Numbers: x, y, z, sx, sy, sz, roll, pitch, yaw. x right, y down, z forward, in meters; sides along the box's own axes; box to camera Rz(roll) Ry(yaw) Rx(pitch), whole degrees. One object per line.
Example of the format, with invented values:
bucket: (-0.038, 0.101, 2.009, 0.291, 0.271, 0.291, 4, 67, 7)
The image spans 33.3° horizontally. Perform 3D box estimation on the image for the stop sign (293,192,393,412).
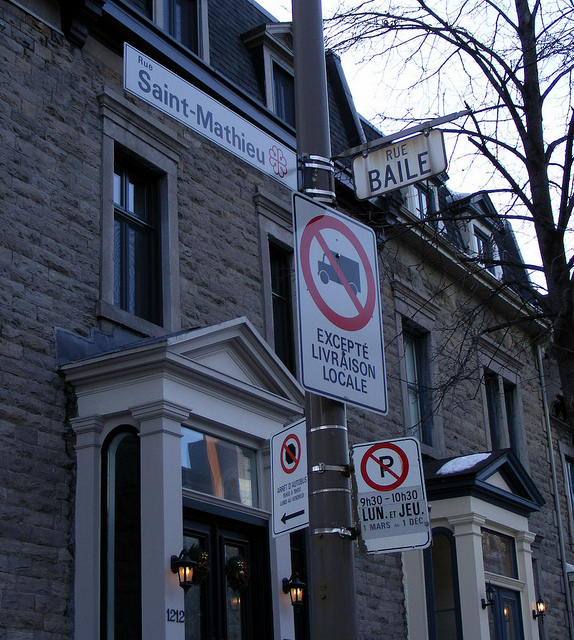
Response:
stop sign: (0.298, -0.089, 4.842, 0.110, 1.061, 0.659, -20, -27, 41)

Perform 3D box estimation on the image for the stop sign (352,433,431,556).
stop sign: (0.516, 0.853, 4.759, 0.355, 0.589, 0.219, -6, -20, 7)
